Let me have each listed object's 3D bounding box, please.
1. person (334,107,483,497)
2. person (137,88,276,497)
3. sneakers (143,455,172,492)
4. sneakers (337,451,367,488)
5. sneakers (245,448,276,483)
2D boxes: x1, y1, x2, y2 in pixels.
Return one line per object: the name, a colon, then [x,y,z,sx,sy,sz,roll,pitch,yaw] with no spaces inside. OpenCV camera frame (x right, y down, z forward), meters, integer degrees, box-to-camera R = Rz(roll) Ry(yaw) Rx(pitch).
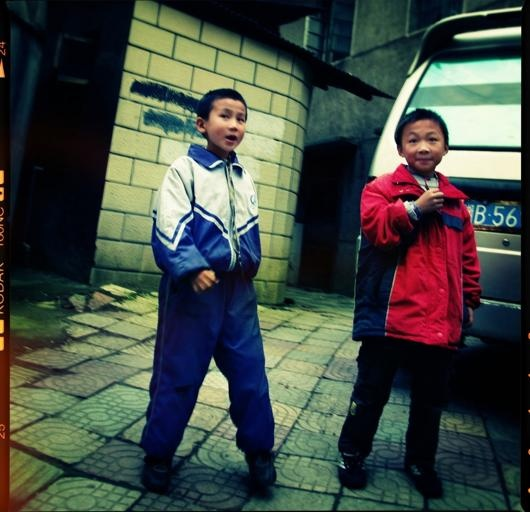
person: [0.594,0.159,1.826,0.495,1.452,0.372,6,5,9]
person: [-0.179,0.094,1.717,0.484,1.439,0.372,4,5,-15]
sneakers: [-0.380,0.747,1.672,0.066,0.117,0.173,7,-6,-11]
sneakers: [0.351,0.825,1.837,0.124,0.095,0.256,3,-2,6]
sneakers: [0.004,0.781,1.762,0.096,0.099,0.232,-3,-13,9]
